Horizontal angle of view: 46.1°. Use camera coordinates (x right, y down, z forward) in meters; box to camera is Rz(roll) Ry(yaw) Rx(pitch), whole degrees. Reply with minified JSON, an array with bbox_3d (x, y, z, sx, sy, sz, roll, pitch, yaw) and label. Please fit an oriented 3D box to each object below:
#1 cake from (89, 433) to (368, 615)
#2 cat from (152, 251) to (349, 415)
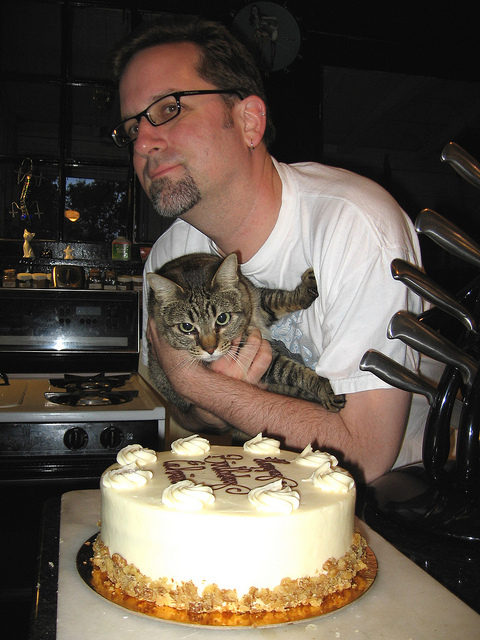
[{"bbox_3d":[0.001,0.284,0.881,0.263,0.111,0.257,1,-2,-31],"label":"cake"},{"bbox_3d":[0.033,0.018,1.838,0.266,0.558,0.381,4,-38,-46],"label":"cat"}]
